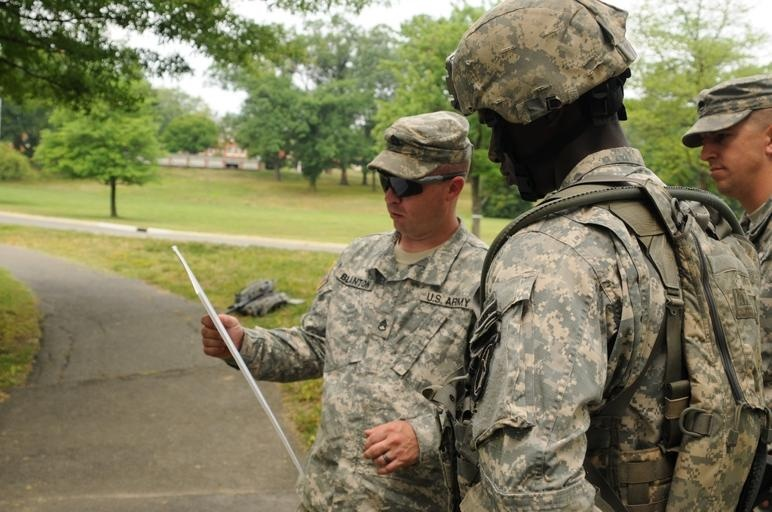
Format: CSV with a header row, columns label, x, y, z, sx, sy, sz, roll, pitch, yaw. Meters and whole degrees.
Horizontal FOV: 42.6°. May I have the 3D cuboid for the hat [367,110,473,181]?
label,x,y,z,sx,sy,sz,roll,pitch,yaw
hat,0.256,-0.843,7.506,0.729,0.340,0.490,-6,14,-22
